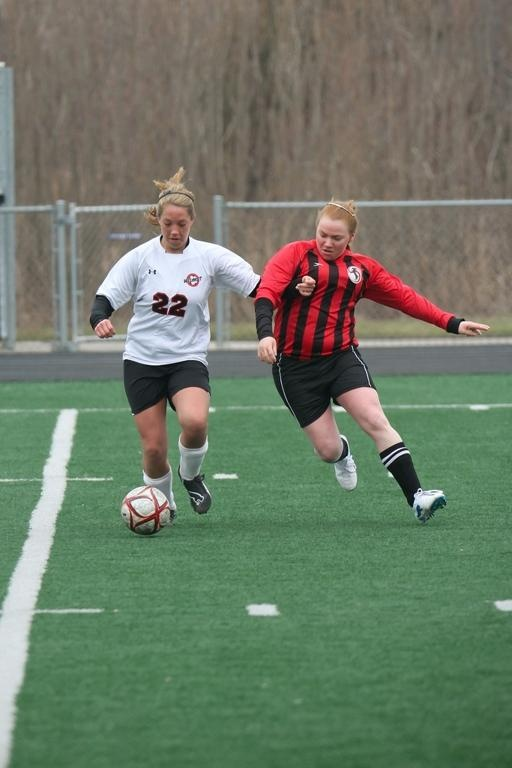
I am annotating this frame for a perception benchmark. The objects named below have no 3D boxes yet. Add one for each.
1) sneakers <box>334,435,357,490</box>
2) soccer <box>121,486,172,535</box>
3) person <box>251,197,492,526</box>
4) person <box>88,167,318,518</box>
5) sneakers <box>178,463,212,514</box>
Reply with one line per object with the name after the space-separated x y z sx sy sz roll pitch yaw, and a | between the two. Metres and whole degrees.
0.439 0.405 4.680 0.112 0.287 0.126 -9 29 11 | sneakers
-0.449 0.538 4.088 0.236 0.194 0.180 -2 6 -20 | soccer
0.273 -0.108 4.741 1.275 1.406 1.442 -6 -1 -19 | person
-0.345 -0.148 4.083 0.765 1.548 0.500 -2 7 -22 | person
-0.251 0.470 4.364 0.091 0.227 0.096 -29 1 5 | sneakers
